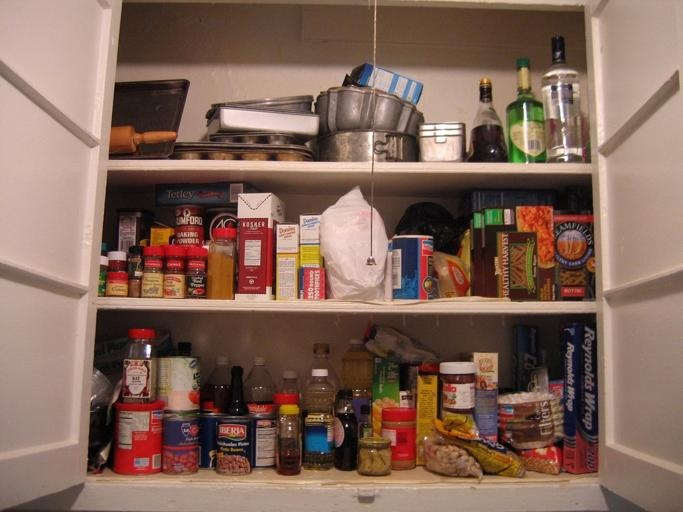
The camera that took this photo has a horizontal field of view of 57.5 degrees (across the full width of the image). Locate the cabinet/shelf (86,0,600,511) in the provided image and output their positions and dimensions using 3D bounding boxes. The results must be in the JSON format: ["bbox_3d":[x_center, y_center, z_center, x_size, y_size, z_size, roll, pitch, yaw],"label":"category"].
[{"bbox_3d":[0.003,0.057,1.896,1.579,1.460,0.540,1,-11,-4],"label":"cabinet/shelf"}]

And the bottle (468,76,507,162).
[{"bbox_3d":[0.458,-0.426,1.990,0.110,0.286,0.135,5,-8,-35],"label":"bottle"}]

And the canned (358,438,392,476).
[{"bbox_3d":[0.096,0.563,1.759,0.097,0.087,0.094,0,-13,6],"label":"canned"}]

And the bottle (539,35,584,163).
[{"bbox_3d":[0.669,-0.470,1.889,0.107,0.386,0.066,-2,-7,16],"label":"bottle"}]

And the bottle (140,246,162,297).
[{"bbox_3d":[-0.554,0.047,1.834,0.061,0.150,0.031,2,-7,-14],"label":"bottle"}]

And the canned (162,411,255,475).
[{"bbox_3d":[-0.384,0.531,1.786,0.252,0.169,0.065,0,-7,-2],"label":"canned"}]

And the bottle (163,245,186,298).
[{"bbox_3d":[-0.491,0.048,1.837,0.064,0.153,0.031,2,-7,-14],"label":"bottle"}]

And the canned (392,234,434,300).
[{"bbox_3d":[0.197,0.032,1.830,0.175,0.184,0.171,2,-4,-12],"label":"canned"}]

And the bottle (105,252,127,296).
[{"bbox_3d":[-0.660,0.053,1.836,0.061,0.131,0.037,3,-8,-23],"label":"bottle"}]

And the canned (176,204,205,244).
[{"bbox_3d":[-0.467,-0.092,1.924,0.094,0.129,0.065,2,-7,-15],"label":"canned"}]

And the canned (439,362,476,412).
[{"bbox_3d":[0.340,0.379,1.806,0.134,0.135,0.130,1,-10,0],"label":"canned"}]

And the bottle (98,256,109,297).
[{"bbox_3d":[-0.693,0.057,1.805,0.019,0.119,0.059,1,-7,-7],"label":"bottle"}]
